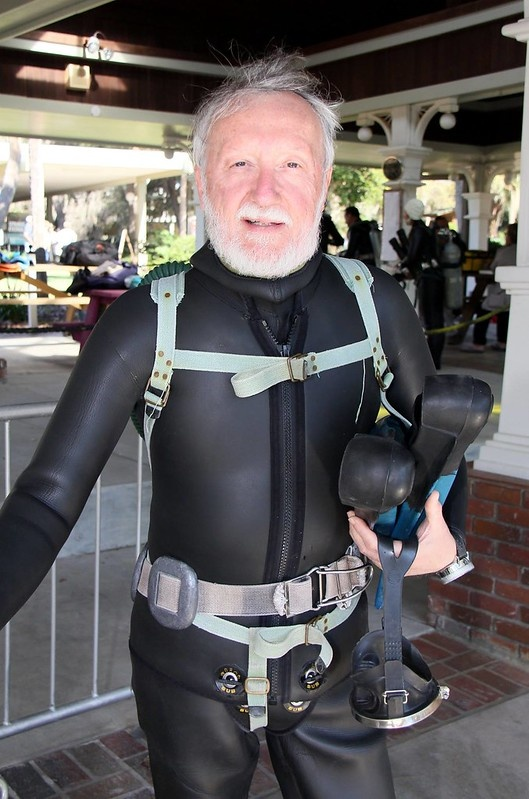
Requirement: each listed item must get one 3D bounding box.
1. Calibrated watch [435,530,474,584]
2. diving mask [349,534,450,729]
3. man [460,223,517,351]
[{"bbox_3d":[0.304,0.247,1.026,0.046,0.067,0.072,-18,-18,34],"label":"Calibrated watch"},{"bbox_3d":[0.191,0.335,0.957,0.153,0.259,0.156,-3,4,7],"label":"diving mask"},{"bbox_3d":[3.917,-1.887,10.893,0.715,1.952,0.697,7,12,33],"label":"man"}]
